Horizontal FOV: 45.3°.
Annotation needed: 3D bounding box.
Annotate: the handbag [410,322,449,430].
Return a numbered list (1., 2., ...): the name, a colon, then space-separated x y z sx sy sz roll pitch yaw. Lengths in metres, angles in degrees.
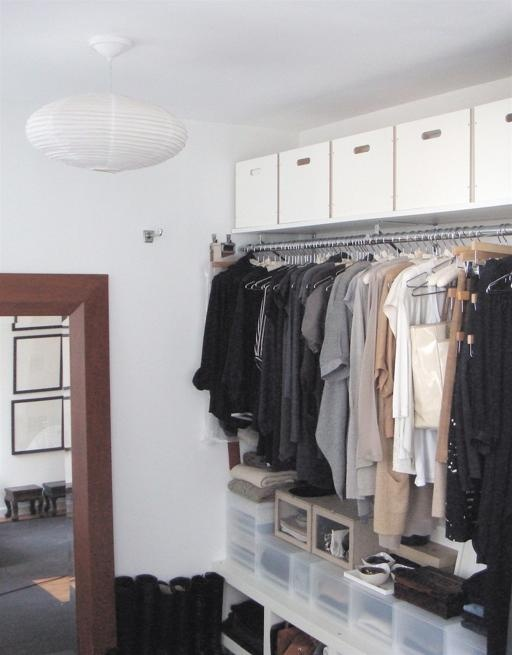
1. handbag: 0.564 0.155 1.978 0.143 0.388 0.315 -1 -6 15

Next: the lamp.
1. lamp: -0.415 -0.702 1.921 0.506 0.409 0.499 0 -6 -2

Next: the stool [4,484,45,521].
1. stool: -0.993 0.735 2.623 0.188 0.167 0.123 1 0 -37
